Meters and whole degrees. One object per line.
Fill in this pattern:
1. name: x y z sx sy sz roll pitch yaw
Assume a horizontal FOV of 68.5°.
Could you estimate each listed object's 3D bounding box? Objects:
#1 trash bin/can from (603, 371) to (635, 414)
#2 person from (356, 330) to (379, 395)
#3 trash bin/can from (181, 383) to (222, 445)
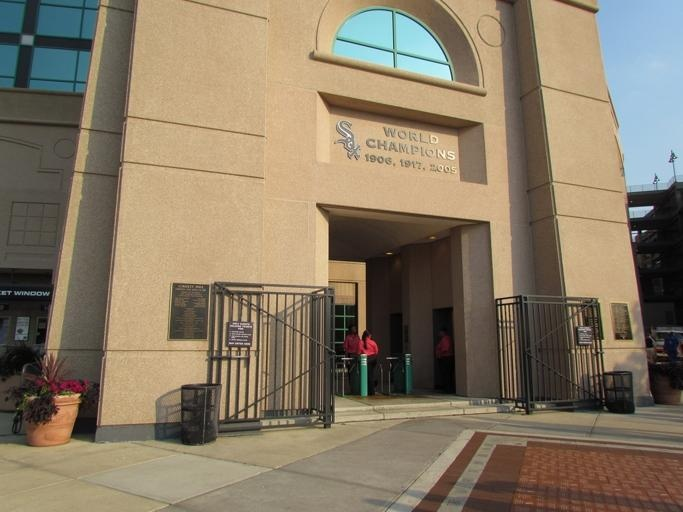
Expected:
1. trash bin/can: 7.383 3.618 13.369 0.689 1.042 0.480 -1 -4 20
2. person: 0.836 3.340 15.786 0.571 1.960 1.293 0 -4 4
3. trash bin/can: -2.871 3.232 10.274 0.752 1.150 0.385 1 -4 -16
